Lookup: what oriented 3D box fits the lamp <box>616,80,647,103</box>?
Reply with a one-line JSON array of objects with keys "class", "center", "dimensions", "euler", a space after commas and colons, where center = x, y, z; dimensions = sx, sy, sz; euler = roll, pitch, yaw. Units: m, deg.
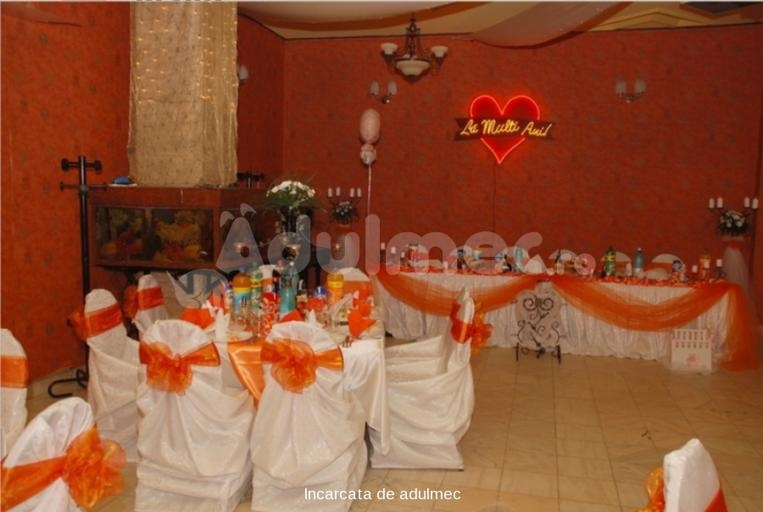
[{"class": "lamp", "center": [3.410, -2.283, 8.998], "dimensions": [0.392, 0.393, 0.141], "euler": [2, -1, 9]}]

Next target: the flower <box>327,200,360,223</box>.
[{"class": "flower", "center": [-0.518, -0.664, 9.444], "dimensions": [0.396, 0.284, 0.393], "euler": [-5, 11, -26]}]

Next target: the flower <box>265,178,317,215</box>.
[{"class": "flower", "center": [-1.026, -0.666, 7.228], "dimensions": [0.420, 0.250, 0.420], "euler": [-1, 6, -17]}]

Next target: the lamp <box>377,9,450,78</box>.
[{"class": "lamp", "center": [0.407, -2.724, 8.553], "dimensions": [0.776, 0.887, 0.989], "euler": [1, 5, -2]}]

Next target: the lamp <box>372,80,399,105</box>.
[{"class": "lamp", "center": [0.028, -2.370, 9.438], "dimensions": [0.425, 0.433, 0.186], "euler": [-3, 9, -3]}]
